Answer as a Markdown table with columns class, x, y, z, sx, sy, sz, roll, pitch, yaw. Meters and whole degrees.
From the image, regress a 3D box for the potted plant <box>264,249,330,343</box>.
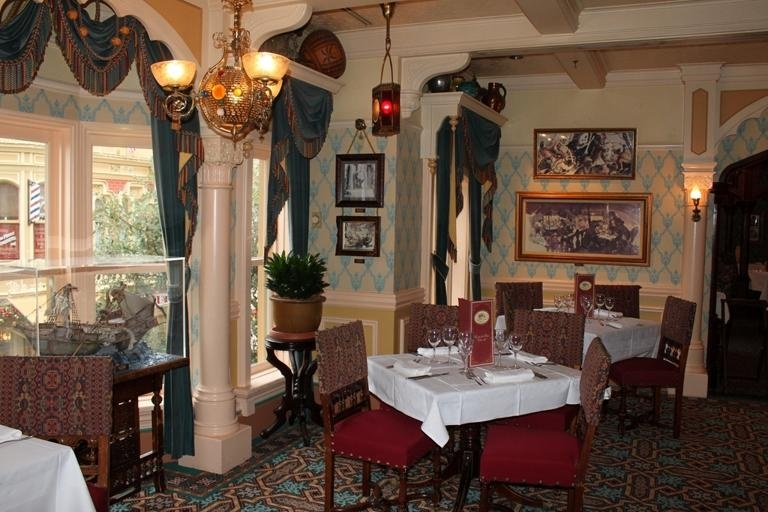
| class | x | y | z | sx | sy | sz | roll | pitch | yaw |
| --- | --- | --- | --- | --- | --- | --- | --- | --- | --- |
| potted plant | -0.798 | 0.464 | 6.111 | 0.817 | 0.961 | 0.767 | 0 | -5 | -4 |

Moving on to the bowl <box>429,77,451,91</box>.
| class | x | y | z | sx | sy | sz | roll | pitch | yaw |
| --- | --- | --- | --- | --- | --- | --- | --- | --- | --- |
| bowl | 0.674 | -2.114 | 6.971 | 0.218 | 0.181 | 0.320 | 4 | 9 | 5 |

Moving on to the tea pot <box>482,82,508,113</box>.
| class | x | y | z | sx | sy | sz | roll | pitch | yaw |
| --- | --- | --- | --- | --- | --- | --- | --- | --- | --- |
| tea pot | 1.639 | -2.306 | 8.222 | 0.513 | 0.428 | 0.248 | -6 | 10 | -43 |

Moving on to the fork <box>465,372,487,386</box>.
| class | x | y | z | sx | sy | sz | roll | pitch | yaw |
| --- | --- | --- | --- | --- | --- | --- | --- | --- | --- |
| fork | 0.740 | 0.990 | 4.538 | 0.052 | 0.026 | 0.174 | -10 | 14 | -20 |

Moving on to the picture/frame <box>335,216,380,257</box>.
| class | x | y | z | sx | sy | sz | roll | pitch | yaw |
| --- | --- | --- | --- | --- | --- | --- | --- | --- | --- |
| picture/frame | -0.294 | -0.241 | 6.686 | 0.453 | 0.416 | 0.038 | 1 | 1 | 18 |

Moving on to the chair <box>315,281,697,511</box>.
| class | x | y | z | sx | sy | sz | roll | pitch | yaw |
| --- | --- | --- | --- | --- | --- | --- | --- | --- | --- |
| chair | 0.627 | 1.323 | 4.699 | 2.221 | 1.673 | 1.098 | 4 | 8 | 19 |

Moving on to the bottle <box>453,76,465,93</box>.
| class | x | y | z | sx | sy | sz | roll | pitch | yaw |
| --- | --- | --- | --- | --- | --- | --- | --- | --- | --- |
| bottle | 0.965 | -2.243 | 7.337 | 0.173 | 0.212 | 0.291 | 3 | 8 | 13 |

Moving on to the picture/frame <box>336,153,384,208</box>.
| class | x | y | z | sx | sy | sz | roll | pitch | yaw |
| --- | --- | --- | --- | --- | --- | --- | --- | --- | --- |
| picture/frame | -0.264 | -0.898 | 6.651 | 0.618 | 0.666 | 0.046 | 0 | 2 | 13 |

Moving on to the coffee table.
| class | x | y | z | sx | sy | sz | roll | pitch | yaw |
| --- | --- | --- | --- | --- | --- | --- | --- | --- | --- |
| coffee table | -0.901 | 1.358 | 6.031 | 0.610 | 1.076 | 0.682 | 0 | -3 | 26 |

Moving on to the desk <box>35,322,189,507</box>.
| class | x | y | z | sx | sy | sz | roll | pitch | yaw |
| --- | --- | --- | --- | --- | --- | --- | --- | --- | --- |
| desk | -2.289 | 1.396 | 4.867 | 0.840 | 0.879 | 0.865 | 0 | 0 | 31 |
